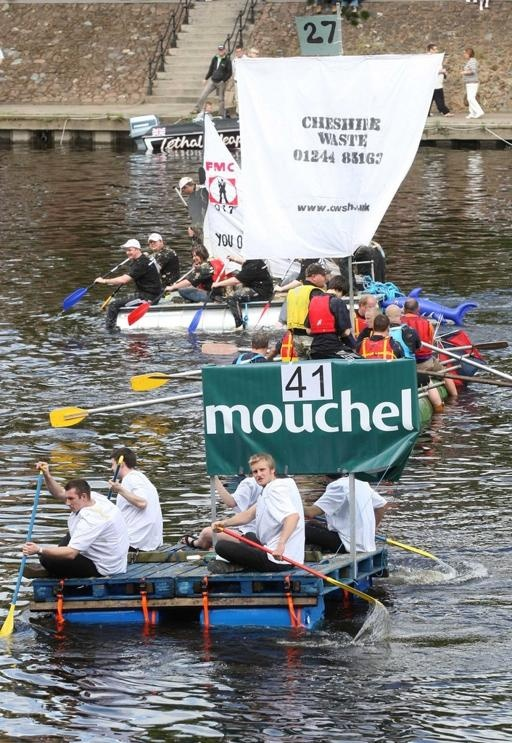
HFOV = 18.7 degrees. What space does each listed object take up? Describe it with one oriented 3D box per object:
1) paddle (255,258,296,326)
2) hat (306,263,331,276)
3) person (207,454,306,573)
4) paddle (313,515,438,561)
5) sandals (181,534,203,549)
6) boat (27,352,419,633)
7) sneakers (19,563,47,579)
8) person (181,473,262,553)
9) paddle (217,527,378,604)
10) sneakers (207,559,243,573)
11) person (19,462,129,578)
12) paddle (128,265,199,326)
[{"bbox_3d":[0.192,-1.186,23.778,0.307,0.709,1.060,7,93,5],"label":"paddle"},{"bbox_3d":[0.635,-1.058,16.501,0.242,0.159,0.120,-1,94,-19],"label":"hat"},{"bbox_3d":[-0.061,1.106,12.097,0.825,0.833,1.059,3,90,13],"label":"person"},{"bbox_3d":[0.944,1.435,12.945,1.114,0.116,0.079,18,75,-5],"label":"paddle"},{"bbox_3d":[-0.554,1.447,12.968,0.072,0.196,0.080,-5,103,-25],"label":"sandals"},{"bbox_3d":[-0.390,1.017,12.606,2.822,1.766,1.908,-6,100,26],"label":"boat"},{"bbox_3d":[-1.731,1.596,12.191,0.245,0.087,0.179,-2,95,-4],"label":"sneakers"},{"bbox_3d":[-0.306,1.100,12.697,0.667,0.427,0.826,4,100,-3],"label":"person"},{"bbox_3d":[0.275,1.546,12.016,1.419,0.159,0.090,21,80,20],"label":"paddle"},{"bbox_3d":[-0.263,1.542,11.950,0.193,0.113,0.094,11,97,-1],"label":"sneakers"},{"bbox_3d":[-1.450,1.349,12.245,0.812,0.643,1.119,1,100,-16],"label":"person"},{"bbox_3d":[-1.382,-1.079,22.870,0.149,0.153,1.288,39,56,0],"label":"paddle"}]
